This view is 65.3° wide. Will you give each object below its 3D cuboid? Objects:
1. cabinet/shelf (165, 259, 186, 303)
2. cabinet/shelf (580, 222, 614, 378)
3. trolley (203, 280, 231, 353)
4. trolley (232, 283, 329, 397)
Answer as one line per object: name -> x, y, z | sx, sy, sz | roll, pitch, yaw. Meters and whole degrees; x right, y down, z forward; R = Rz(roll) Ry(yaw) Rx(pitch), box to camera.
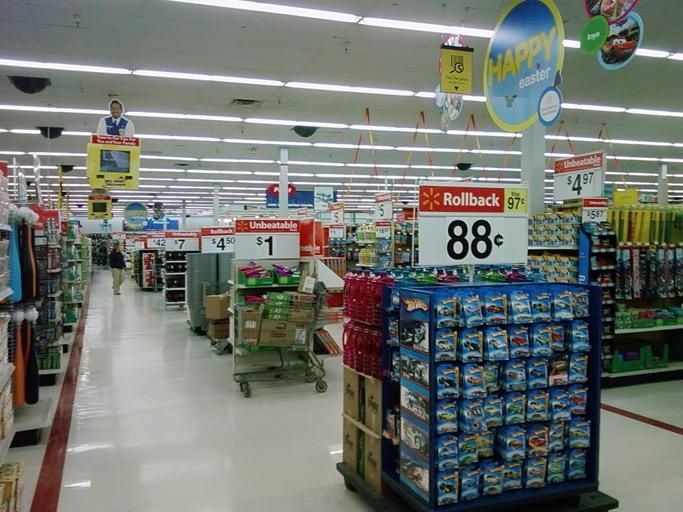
cabinet/shelf -> -4.697, 0.703, 15.029 | 0.533, 1.321, 0.606 | -2, 6, -19
cabinet/shelf -> 3.623, 0.359, 7.606 | 0.397, 1.877, 0.384 | -2, 1, 10
trolley -> -2.365, 1.162, 10.058 | 0.778, 1.288, 1.330 | 1, -1, -20
trolley -> -0.939, 1.140, 7.761 | 1.262, 1.403, 0.943 | -1, 0, -10
